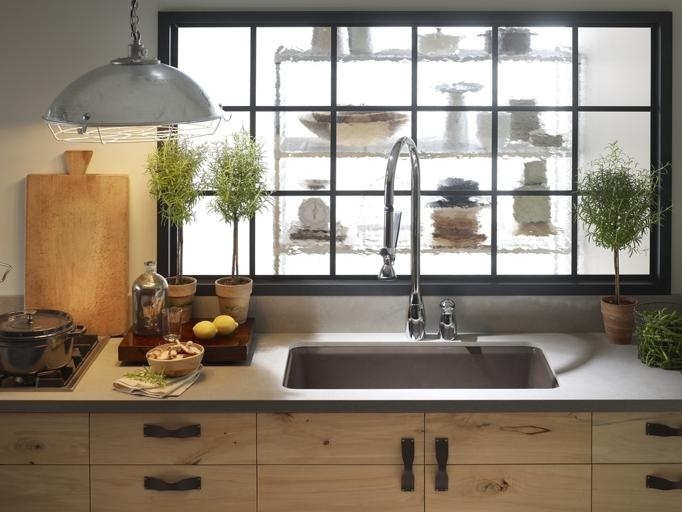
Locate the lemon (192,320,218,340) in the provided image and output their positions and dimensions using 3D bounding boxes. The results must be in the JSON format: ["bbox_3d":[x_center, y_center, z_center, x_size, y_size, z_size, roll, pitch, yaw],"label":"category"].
[{"bbox_3d":[-0.549,0.299,2.664,0.099,0.070,0.079,1,4,-9],"label":"lemon"}]

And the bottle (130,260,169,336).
[{"bbox_3d":[-0.777,0.172,2.666,0.141,0.292,0.099,1,5,-15],"label":"bottle"}]

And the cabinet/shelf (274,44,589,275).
[{"bbox_3d":[0.305,-0.406,2.840,1.393,0.882,0.392,-1,6,2],"label":"cabinet/shelf"}]

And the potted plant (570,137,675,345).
[{"bbox_3d":[1.234,-0.078,2.840,0.608,0.917,0.547,-1,-2,24],"label":"potted plant"}]

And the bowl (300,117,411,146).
[{"bbox_3d":[0.029,-0.587,3.080,0.413,0.096,0.421,-2,-1,0],"label":"bowl"}]

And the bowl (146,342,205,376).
[{"bbox_3d":[-0.611,0.388,2.492,0.174,0.117,0.224,4,5,27],"label":"bowl"}]

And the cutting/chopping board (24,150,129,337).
[{"bbox_3d":[-1.150,-0.087,2.863,0.537,0.739,0.054,5,6,18],"label":"cutting/chopping board"}]

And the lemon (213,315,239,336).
[{"bbox_3d":[-0.466,0.286,2.689,0.105,0.061,0.071,3,-2,-4],"label":"lemon"}]

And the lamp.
[{"bbox_3d":[-0.687,-0.640,2.291,0.546,0.491,0.728,1,4,-9],"label":"lamp"}]
